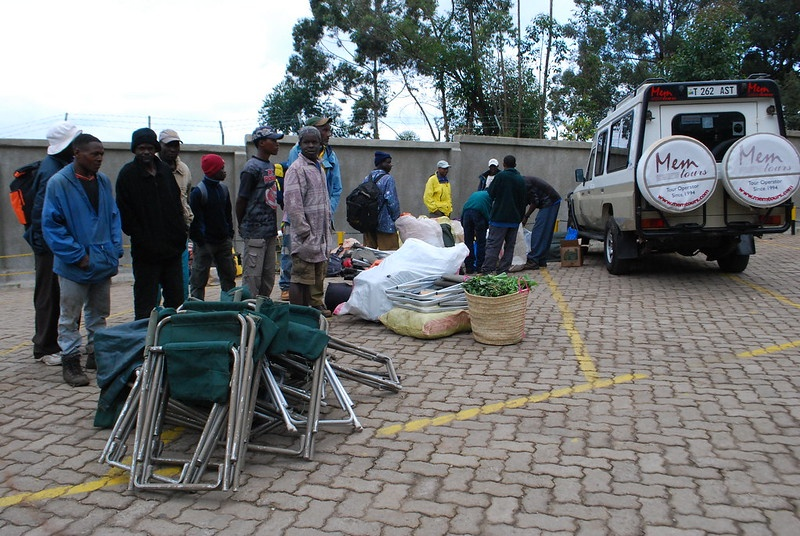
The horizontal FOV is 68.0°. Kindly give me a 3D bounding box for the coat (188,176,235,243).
[{"bbox_3d":[-2.446,-0.737,7.668,0.618,0.851,0.247,-11,15,-38],"label":"coat"}]

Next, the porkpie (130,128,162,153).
[{"bbox_3d":[-2.594,-1.299,6.026,0.246,0.238,0.333,-7,12,-23],"label":"porkpie"}]

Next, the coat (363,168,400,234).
[{"bbox_3d":[-0.346,-1.202,10.494,0.535,1.085,0.809,-14,21,-36],"label":"coat"}]

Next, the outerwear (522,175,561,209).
[{"bbox_3d":[2.698,-1.480,11.716,0.778,0.562,0.616,3,18,30],"label":"outerwear"}]

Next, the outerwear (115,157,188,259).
[{"bbox_3d":[-2.613,-0.615,6.259,0.646,1.082,0.374,-8,14,-26],"label":"outerwear"}]

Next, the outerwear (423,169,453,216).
[{"bbox_3d":[0.781,-1.525,12.431,0.569,0.917,0.416,-4,12,-7],"label":"outerwear"}]

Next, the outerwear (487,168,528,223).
[{"bbox_3d":[1.895,-1.270,10.714,0.834,0.968,0.590,0,2,-40],"label":"outerwear"}]

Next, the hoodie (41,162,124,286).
[{"bbox_3d":[-3.158,-0.447,5.977,0.365,1.192,0.725,7,15,35],"label":"hoodie"}]

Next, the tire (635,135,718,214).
[{"bbox_3d":[4.170,-1.358,8.963,1.139,1.063,0.169,16,10,2],"label":"tire"}]

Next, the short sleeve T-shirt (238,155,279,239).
[{"bbox_3d":[-1.955,-0.946,8.021,0.548,1.035,0.801,4,11,14],"label":"short sleeve T-shirt"}]

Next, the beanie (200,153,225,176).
[{"bbox_3d":[-2.387,-1.318,7.663,0.352,0.252,0.260,-9,28,-27],"label":"beanie"}]

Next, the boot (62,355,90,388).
[{"bbox_3d":[-3.187,1.046,5.967,0.470,0.248,0.171,6,7,38],"label":"boot"}]

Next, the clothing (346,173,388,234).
[{"bbox_3d":[-0.594,-1.090,10.290,0.678,1.031,0.343,-3,12,-4],"label":"clothing"}]

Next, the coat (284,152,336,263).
[{"bbox_3d":[-1.121,-0.716,7.320,0.593,1.333,0.364,-8,14,-24],"label":"coat"}]
